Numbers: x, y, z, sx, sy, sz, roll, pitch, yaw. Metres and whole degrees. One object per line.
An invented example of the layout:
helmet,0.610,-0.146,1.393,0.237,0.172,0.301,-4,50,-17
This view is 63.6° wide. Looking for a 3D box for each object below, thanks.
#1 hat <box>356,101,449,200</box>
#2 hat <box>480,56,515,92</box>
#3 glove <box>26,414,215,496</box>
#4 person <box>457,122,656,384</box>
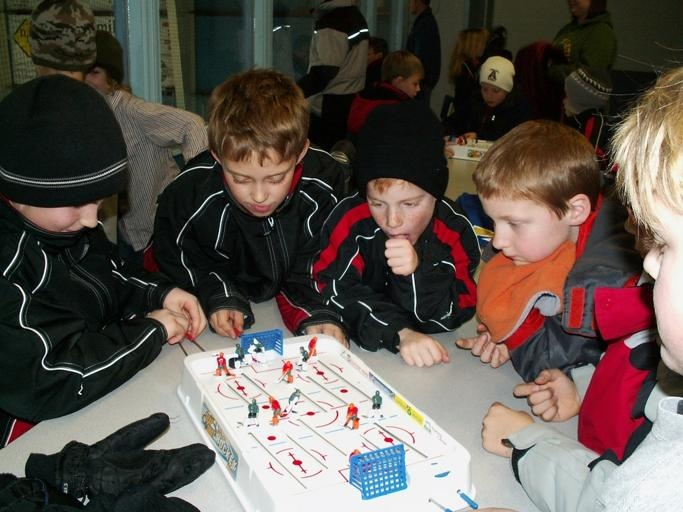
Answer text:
hat,0.198,-0.334,1.710,0.233,0.307,0.313,8,17,23
hat,1.214,-1.350,4.316,0.212,0.224,0.285,33,4,28
glove,-0.489,0.453,1.217,0.262,0.085,0.189,-7,23,-4
person,0.545,-0.052,1.867,0.628,0.924,0.631,-6,25,12
